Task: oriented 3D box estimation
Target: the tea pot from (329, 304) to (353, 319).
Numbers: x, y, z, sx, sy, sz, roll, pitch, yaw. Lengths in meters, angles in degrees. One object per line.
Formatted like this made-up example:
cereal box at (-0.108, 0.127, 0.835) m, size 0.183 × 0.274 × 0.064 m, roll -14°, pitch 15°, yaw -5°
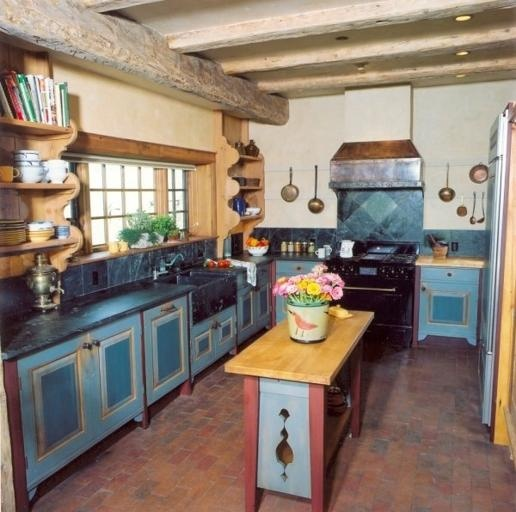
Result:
tea pot at (0.548, 0.380, 2.968) m, size 0.111 × 0.034 × 0.097 m, roll 4°, pitch 10°, yaw 17°

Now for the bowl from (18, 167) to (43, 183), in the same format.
bowl at (-1.373, -0.486, 2.659) m, size 0.116 × 0.113 × 0.208 m, roll -2°, pitch 7°, yaw -12°

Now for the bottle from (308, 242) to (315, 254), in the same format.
bottle at (0.699, -0.104, 5.937) m, size 0.129 × 0.198 × 0.121 m, roll -1°, pitch 3°, yaw 0°

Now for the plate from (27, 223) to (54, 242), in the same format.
plate at (-1.336, -0.143, 2.717) m, size 0.122 × 0.070 × 0.117 m, roll 1°, pitch 6°, yaw 12°

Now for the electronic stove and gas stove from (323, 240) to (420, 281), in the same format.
electronic stove and gas stove at (1.350, 0.046, 5.186) m, size 0.954 × 0.381 × 0.809 m, roll 2°, pitch 7°, yaw 23°

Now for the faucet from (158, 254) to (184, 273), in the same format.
faucet at (-0.823, 0.061, 4.358) m, size 0.169 × 0.175 × 0.499 m, roll 0°, pitch 7°, yaw 8°

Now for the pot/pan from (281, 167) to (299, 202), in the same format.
pot/pan at (0.427, -0.955, 5.943) m, size 0.233 × 0.470 × 0.058 m, roll 3°, pitch 9°, yaw 26°

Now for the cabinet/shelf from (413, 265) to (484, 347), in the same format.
cabinet/shelf at (2.112, 0.516, 5.119) m, size 0.858 × 1.074 × 0.792 m, roll 1°, pitch 3°, yaw 29°

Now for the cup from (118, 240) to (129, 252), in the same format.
cup at (-1.150, -0.081, 3.804) m, size 0.068 × 0.087 × 0.099 m, roll 0°, pitch 2°, yaw -13°

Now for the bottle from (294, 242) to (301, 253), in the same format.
bottle at (0.528, -0.114, 5.893) m, size 0.093 × 0.127 × 0.079 m, roll -4°, pitch 8°, yaw -25°

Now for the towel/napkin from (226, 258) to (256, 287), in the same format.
towel/napkin at (-0.194, 0.199, 4.787) m, size 0.321 × 0.308 × 0.354 m, roll 1°, pitch 7°, yaw 15°

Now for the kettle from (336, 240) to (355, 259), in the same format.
kettle at (1.086, -0.073, 5.372) m, size 0.262 × 0.240 × 0.154 m, roll 2°, pitch -2°, yaw -17°

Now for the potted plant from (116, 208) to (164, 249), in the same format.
potted plant at (-1.101, -0.265, 4.060) m, size 0.335 × 0.259 × 0.376 m, roll -2°, pitch 11°, yaw -14°

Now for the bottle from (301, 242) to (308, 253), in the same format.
bottle at (0.627, -0.122, 5.913) m, size 0.074 × 0.140 × 0.103 m, roll 0°, pitch 7°, yaw 6°

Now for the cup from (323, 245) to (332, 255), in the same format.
cup at (0.888, -0.068, 5.608) m, size 0.144 × 0.136 × 0.090 m, roll 3°, pitch 6°, yaw 40°

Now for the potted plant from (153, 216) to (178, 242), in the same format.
potted plant at (-0.913, -0.289, 4.391) m, size 0.244 × 0.280 × 0.289 m, roll -2°, pitch 6°, yaw -10°

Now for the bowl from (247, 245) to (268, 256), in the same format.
bowl at (-0.001, -0.067, 5.614) m, size 0.239 × 0.126 × 0.234 m, roll -1°, pitch 7°, yaw 0°

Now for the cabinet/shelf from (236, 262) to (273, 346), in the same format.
cabinet/shelf at (-0.062, 0.489, 4.662) m, size 0.341 × 0.750 × 0.839 m, roll 4°, pitch 11°, yaw 26°

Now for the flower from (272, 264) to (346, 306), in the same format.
flower at (0.286, 0.196, 2.414) m, size 0.286 × 0.129 × 0.335 m, roll -2°, pitch 7°, yaw -24°

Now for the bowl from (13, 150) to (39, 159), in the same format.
bowl at (-1.383, -0.606, 2.654) m, size 0.088 × 0.075 × 0.116 m, roll 2°, pitch 7°, yaw 19°

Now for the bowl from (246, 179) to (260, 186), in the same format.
bowl at (-0.083, -0.979, 5.860) m, size 0.134 × 0.059 × 0.162 m, roll -1°, pitch 7°, yaw -7°

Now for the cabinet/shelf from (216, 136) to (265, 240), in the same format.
cabinet/shelf at (-0.215, -0.830, 5.650) m, size 0.364 × 1.251 × 0.997 m, roll 1°, pitch 7°, yaw 14°

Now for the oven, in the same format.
oven at (1.393, 0.548, 5.119) m, size 0.899 × 0.769 × 0.594 m, roll 1°, pitch 19°, yaw 26°

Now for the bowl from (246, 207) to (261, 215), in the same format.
bowl at (-0.064, -0.602, 5.950) m, size 0.129 × 0.080 × 0.126 m, roll 0°, pitch 7°, yaw 0°

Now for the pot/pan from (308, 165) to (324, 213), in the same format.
pot/pan at (0.770, -0.874, 5.812) m, size 0.206 × 0.633 × 0.084 m, roll 1°, pitch 8°, yaw 13°

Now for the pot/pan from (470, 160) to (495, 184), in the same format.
pot/pan at (2.550, -0.957, 5.128) m, size 0.181 × 0.239 × 0.080 m, roll 2°, pitch 8°, yaw 17°

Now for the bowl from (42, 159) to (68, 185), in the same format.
bowl at (-1.307, -0.538, 2.819) m, size 0.159 × 0.162 × 0.146 m, roll -1°, pitch 7°, yaw 0°

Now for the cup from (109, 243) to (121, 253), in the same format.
cup at (-1.193, -0.067, 3.697) m, size 0.089 × 0.079 × 0.078 m, roll 1°, pitch 2°, yaw -3°
